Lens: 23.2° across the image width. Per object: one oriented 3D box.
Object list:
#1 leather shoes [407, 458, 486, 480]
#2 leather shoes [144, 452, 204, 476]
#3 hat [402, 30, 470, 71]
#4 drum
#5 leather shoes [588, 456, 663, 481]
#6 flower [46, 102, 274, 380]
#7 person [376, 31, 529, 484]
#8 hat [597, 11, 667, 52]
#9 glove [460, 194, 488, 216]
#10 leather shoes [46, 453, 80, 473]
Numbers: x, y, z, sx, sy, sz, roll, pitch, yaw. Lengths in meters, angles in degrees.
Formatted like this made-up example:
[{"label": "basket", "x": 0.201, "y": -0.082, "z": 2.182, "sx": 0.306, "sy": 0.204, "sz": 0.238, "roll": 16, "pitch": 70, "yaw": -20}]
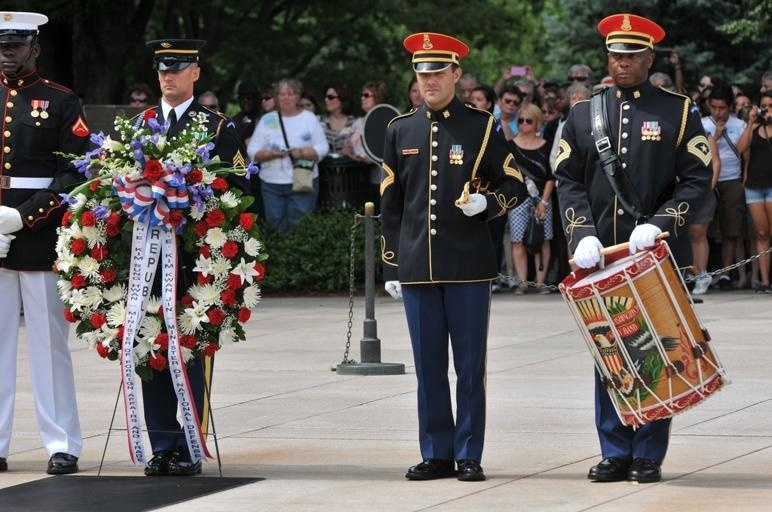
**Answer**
[{"label": "leather shoes", "x": 0.452, "y": 1.722, "z": 14.761, "sx": 0.617, "sy": 0.160, "sz": 0.209, "roll": 3, "pitch": -5, "yaw": -4}, {"label": "leather shoes", "x": -1.733, "y": 1.695, "z": 14.953, "sx": 0.394, "sy": 0.123, "sz": 0.192, "roll": -1, "pitch": 1, "yaw": 5}, {"label": "hat", "x": 0.421, "y": -1.651, "z": 14.932, "sx": 0.442, "sy": 0.179, "sz": 0.387, "roll": 0, "pitch": 1, "yaw": 15}, {"label": "drum", "x": 2.040, "y": 0.691, "z": 15.159, "sx": 1.343, "sy": 1.305, "sz": 1.162, "roll": -29, "pitch": 5, "yaw": 19}, {"label": "leather shoes", "x": 1.862, "y": 1.699, "z": 14.609, "sx": 0.393, "sy": 0.103, "sz": 0.249, "roll": 6, "pitch": -6, "yaw": -23}, {"label": "flower", "x": -1.851, "y": -0.090, "z": 15.352, "sx": 2.063, "sy": 1.997, "sz": 0.974, "roll": 8, "pitch": 4, "yaw": -1}, {"label": "person", "x": 0.495, "y": -0.009, "z": 14.880, "sx": 1.077, "sy": 3.522, "sz": 1.108, "roll": -2, "pitch": 13, "yaw": -1}, {"label": "hat", "x": 1.952, "y": -1.800, "z": 14.794, "sx": 0.454, "sy": 0.175, "sz": 0.392, "roll": 2, "pitch": -5, "yaw": 20}, {"label": "glove", "x": 0.682, "y": -0.403, "z": 14.692, "sx": 0.213, "sy": 0.069, "sz": 0.157, "roll": -32, "pitch": -56, "yaw": 33}, {"label": "leather shoes", "x": -2.609, "y": 1.693, "z": 15.041, "sx": 0.214, "sy": 0.078, "sz": 0.284, "roll": 0, "pitch": 2, "yaw": -9}]
